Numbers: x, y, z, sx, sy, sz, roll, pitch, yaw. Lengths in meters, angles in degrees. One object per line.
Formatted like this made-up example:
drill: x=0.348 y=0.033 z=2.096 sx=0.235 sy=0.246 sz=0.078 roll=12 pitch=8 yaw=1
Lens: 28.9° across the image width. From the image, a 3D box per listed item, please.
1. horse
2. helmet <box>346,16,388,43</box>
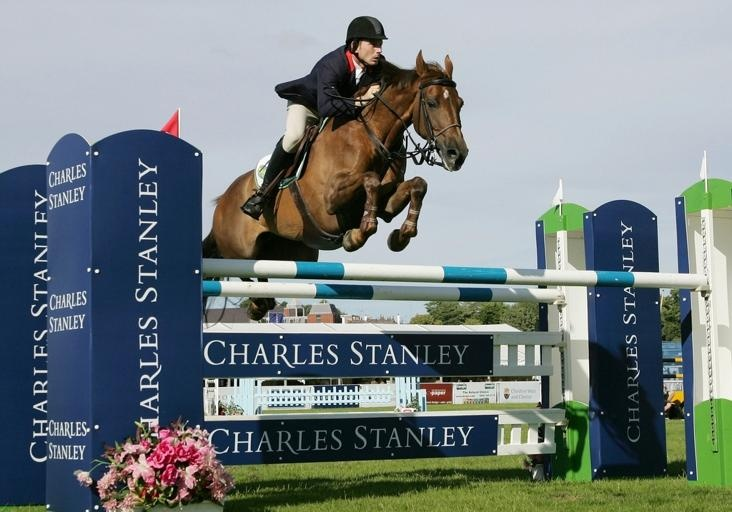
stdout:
horse: x=-0.384 y=-0.434 z=10.602 sx=0.607 sy=1.365 sz=2.945 roll=10 pitch=-24 yaw=-44
helmet: x=-0.004 y=-1.651 z=10.112 sx=0.263 sy=0.193 sz=0.267 roll=-2 pitch=-10 yaw=-2
